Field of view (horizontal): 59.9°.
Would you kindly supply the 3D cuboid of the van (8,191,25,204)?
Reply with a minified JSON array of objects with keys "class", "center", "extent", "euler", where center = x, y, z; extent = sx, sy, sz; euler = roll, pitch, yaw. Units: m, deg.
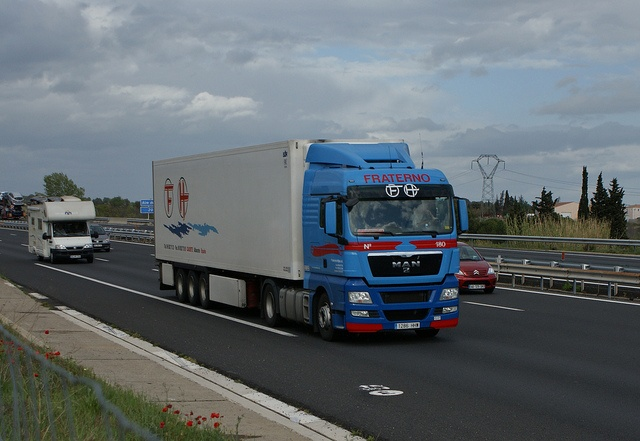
[{"class":"van","center":[-48.898,-3.471,89.176],"extent":[2.169,1.825,2.910],"euler":[0,0,-37]}]

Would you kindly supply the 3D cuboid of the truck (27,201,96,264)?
[{"class":"truck","center":[-16.023,0.601,34.319],"extent":[2.751,3.990,6.079],"euler":[-1,4,-40]}]

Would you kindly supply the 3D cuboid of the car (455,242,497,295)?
[{"class":"car","center":[5.448,1.630,19.473],"extent":[1.365,1.410,2.674],"euler":[0,-3,-14]}]

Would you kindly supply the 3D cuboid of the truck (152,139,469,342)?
[{"class":"truck","center":[-0.912,0.433,16.968],"extent":[3.864,5.526,11.848],"euler":[-1,0,-33]}]

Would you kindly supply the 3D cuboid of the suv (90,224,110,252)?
[{"class":"suv","center":[-16.417,1.359,41.253],"extent":[1.282,1.324,2.364],"euler":[0,-3,-17]}]
